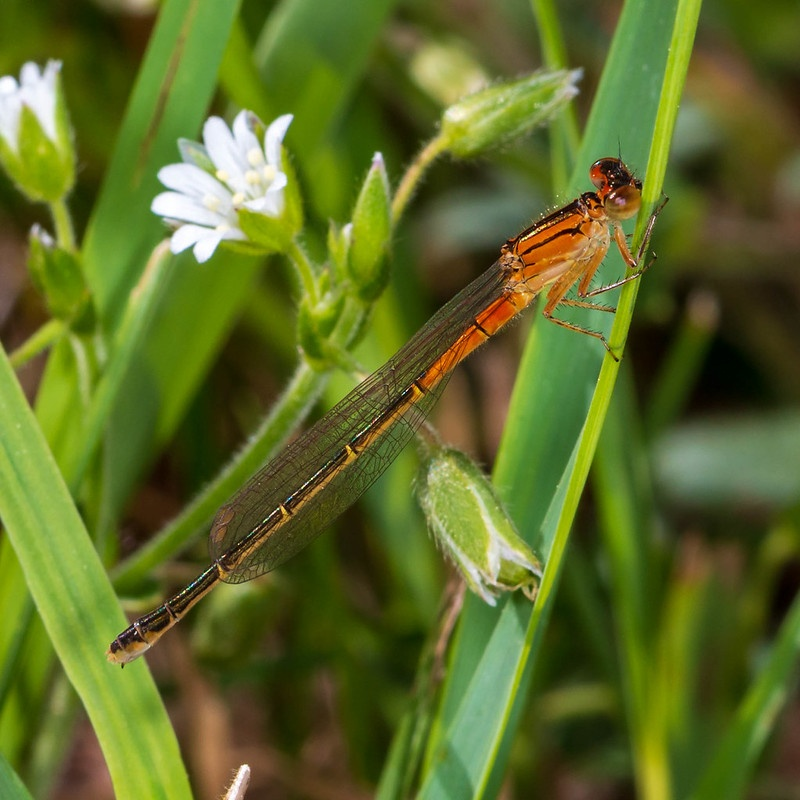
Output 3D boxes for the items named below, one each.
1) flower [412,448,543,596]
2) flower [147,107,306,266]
[{"bbox_3d":[0.154,0.257,1.962,0.154,0.385,0.138,-24,-24,9],"label":"flower"},{"bbox_3d":[-0.340,-0.490,2.024,0.300,0.316,0.146,45,9,28],"label":"flower"}]
